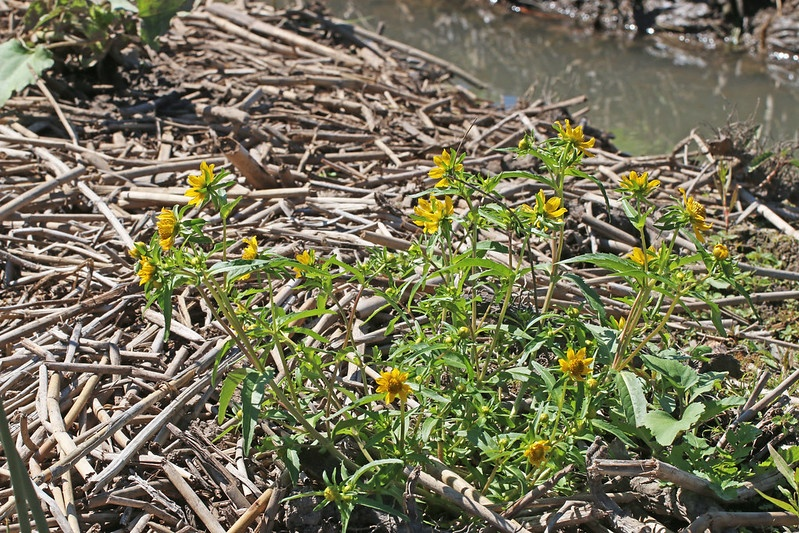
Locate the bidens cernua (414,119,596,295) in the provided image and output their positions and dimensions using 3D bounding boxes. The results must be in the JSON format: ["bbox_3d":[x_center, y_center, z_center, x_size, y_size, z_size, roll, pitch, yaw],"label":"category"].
[{"bbox_3d":[0.670,-0.335,5.981,1.123,1.111,0.859,-3,31,-5],"label":"bidens cernua"}]

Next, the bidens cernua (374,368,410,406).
[{"bbox_3d":[-0.046,0.621,4.924,0.187,0.180,0.070,-8,1,-11],"label":"bidens cernua"}]

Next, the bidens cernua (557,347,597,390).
[{"bbox_3d":[0.907,0.505,4.894,0.165,0.179,0.132,10,45,10],"label":"bidens cernua"}]

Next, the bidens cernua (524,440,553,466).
[{"bbox_3d":[0.703,0.954,4.841,0.135,0.131,0.048,-1,20,-23],"label":"bidens cernua"}]

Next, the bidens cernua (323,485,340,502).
[{"bbox_3d":[-0.353,1.177,4.904,0.076,0.090,0.063,6,44,6],"label":"bidens cernua"}]
